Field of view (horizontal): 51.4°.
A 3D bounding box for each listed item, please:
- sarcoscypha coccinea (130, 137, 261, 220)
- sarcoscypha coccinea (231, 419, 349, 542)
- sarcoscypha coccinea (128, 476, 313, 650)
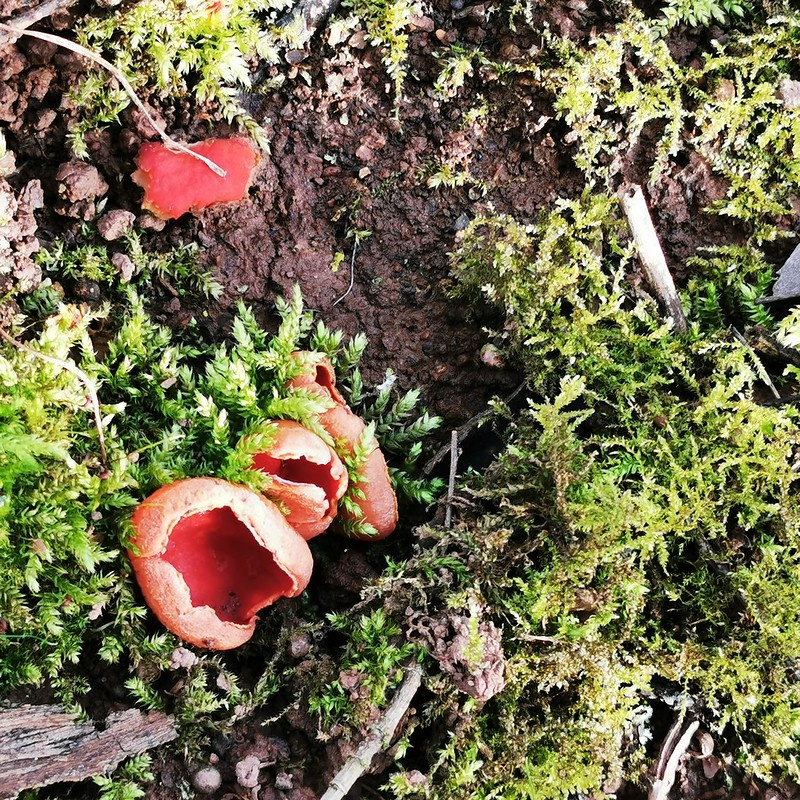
[{"bbox_3d":[-0.629,-0.692,2.601,0.319,0.115,0.235,-15,88,-14],"label":"sarcoscypha coccinea"},{"bbox_3d":[-0.286,0.197,2.379,0.278,0.253,0.355,-29,100,-7],"label":"sarcoscypha coccinea"},{"bbox_3d":[-0.434,0.471,2.326,0.435,0.423,0.204,6,44,-28],"label":"sarcoscypha coccinea"}]
